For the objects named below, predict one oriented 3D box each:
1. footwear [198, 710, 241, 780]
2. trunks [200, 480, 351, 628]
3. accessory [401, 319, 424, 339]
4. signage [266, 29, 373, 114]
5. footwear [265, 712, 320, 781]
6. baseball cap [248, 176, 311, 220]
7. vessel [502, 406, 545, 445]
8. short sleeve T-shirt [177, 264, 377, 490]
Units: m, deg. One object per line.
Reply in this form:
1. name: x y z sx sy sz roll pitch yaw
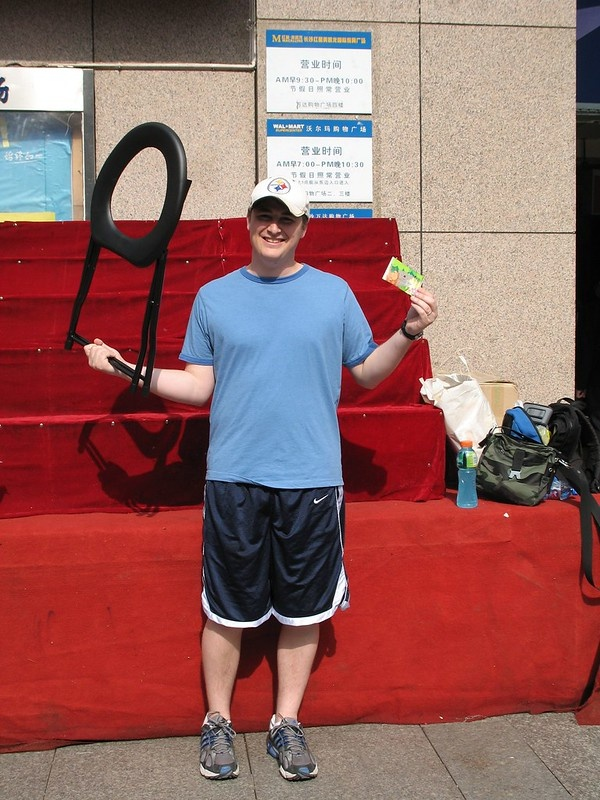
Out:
1. footwear: -0.273 1.146 2.800 0.096 0.104 0.234 2 -9 -5
2. trunks: -0.088 0.489 2.767 0.543 0.476 0.292 0 2 -9
3. accessory: 0.362 -0.228 2.797 0.065 0.085 0.168 2 11 10
4. signage: 0.080 -1.769 4.554 0.491 0.322 0.021 0 3 -4
5. footwear: -0.027 1.154 2.816 0.102 0.112 0.239 4 -8 -14
6. baseball cap: -0.053 -0.665 2.796 0.170 0.135 0.216 9 14 37
7. vessel: 0.911 0.105 3.553 0.065 0.118 0.164 -17 32 -23
8. short sleeve T-shirt: -0.077 -0.080 2.794 0.640 0.700 0.323 1 11 4
